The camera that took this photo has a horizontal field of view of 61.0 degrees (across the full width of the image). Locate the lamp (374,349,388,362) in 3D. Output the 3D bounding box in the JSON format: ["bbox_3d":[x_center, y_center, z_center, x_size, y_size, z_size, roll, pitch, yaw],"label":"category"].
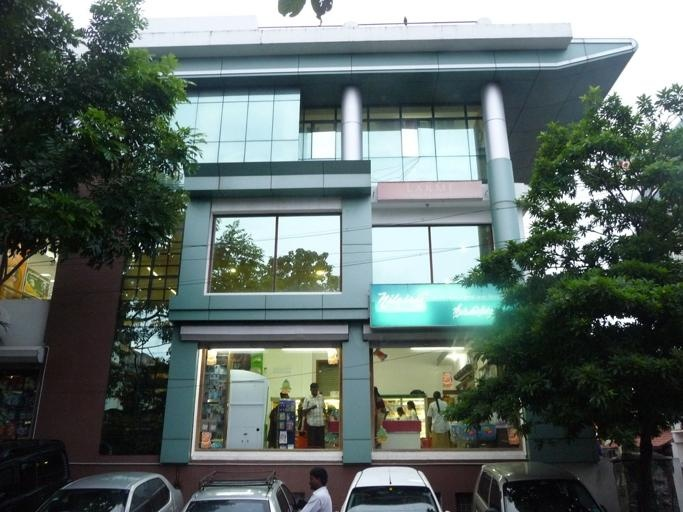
[{"bbox_3d":[1.215,3.092,18.043,0.471,0.356,0.154,9,-16,-30],"label":"lamp"}]

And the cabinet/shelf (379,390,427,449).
[{"bbox_3d":[2.018,5.280,18.332,1.600,1.667,1.354,2,-27,-1],"label":"cabinet/shelf"}]

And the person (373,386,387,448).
[{"bbox_3d":[1.222,4.923,17.694,0.488,1.779,0.204,9,-16,-31],"label":"person"}]

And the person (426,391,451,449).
[{"bbox_3d":[3.053,5.212,17.984,0.665,2.050,0.483,-7,10,-5],"label":"person"}]
